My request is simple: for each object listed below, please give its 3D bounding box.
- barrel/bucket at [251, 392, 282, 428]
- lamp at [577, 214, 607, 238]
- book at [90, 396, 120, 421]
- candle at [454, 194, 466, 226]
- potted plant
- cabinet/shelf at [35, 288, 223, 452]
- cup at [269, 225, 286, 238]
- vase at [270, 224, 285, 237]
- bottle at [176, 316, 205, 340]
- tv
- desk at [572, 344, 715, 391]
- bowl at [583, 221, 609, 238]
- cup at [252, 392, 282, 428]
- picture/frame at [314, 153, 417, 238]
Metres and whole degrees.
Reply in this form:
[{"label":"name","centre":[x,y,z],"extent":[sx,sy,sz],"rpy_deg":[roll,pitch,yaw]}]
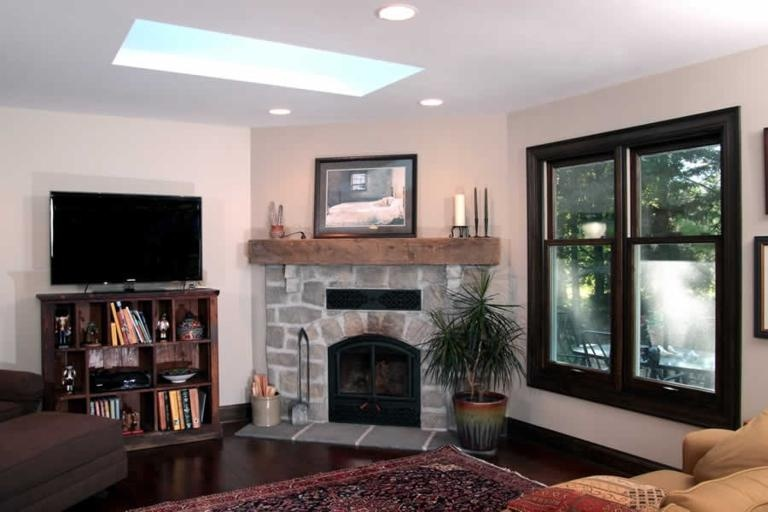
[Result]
[{"label":"barrel/bucket","centre":[-1.209,1.585,5.586],"extent":[0.309,0.262,0.282],"rpy_deg":[0,-1,0]},{"label":"lamp","centre":[1.882,-0.275,4.894],"extent":[0.215,0.218,0.214],"rpy_deg":[0,2,10]},{"label":"book","centre":[-2.519,1.375,4.857],"extent":[0.264,0.236,0.183],"rpy_deg":[3,-3,-18]},{"label":"candle","centre":[0.773,-0.460,5.349],"extent":[0.103,0.319,0.250],"rpy_deg":[2,6,32]},{"label":"potted plant","centre":[0.857,0.969,5.102],"extent":[1.001,1.600,0.749],"rpy_deg":[-1,5,3]},{"label":"cabinet/shelf","centre":[-2.356,1.048,5.142],"extent":[1.566,1.339,0.434],"rpy_deg":[-1,-6,-12]},{"label":"cup","centre":[-1.122,-0.265,5.677],"extent":[0.145,0.112,0.142],"rpy_deg":[1,-1,0]},{"label":"vase","centre":[-1.115,-0.273,5.696],"extent":[0.142,0.111,0.138],"rpy_deg":[0,-1,23]},{"label":"bottle","centre":[-1.914,0.697,5.352],"extent":[0.227,0.219,0.221],"rpy_deg":[-1,3,-30]},{"label":"tv","centre":[-2.558,-0.145,5.213],"extent":[1.128,0.705,0.050],"rpy_deg":[-1,4,-24]},{"label":"desk","centre":[2.212,0.933,4.506],"extent":[0.204,0.417,0.876],"rpy_deg":[-12,10,-43]},{"label":"bowl","centre":[1.893,-0.244,4.855],"extent":[0.150,0.105,0.147],"rpy_deg":[2,-2,0]},{"label":"cup","centre":[-1.211,1.586,5.575],"extent":[0.307,0.262,0.284],"rpy_deg":[0,-1,0]},{"label":"picture/frame","centre":[-0.148,-0.609,5.574],"extent":[0.977,0.708,0.074],"rpy_deg":[1,-4,6]}]
